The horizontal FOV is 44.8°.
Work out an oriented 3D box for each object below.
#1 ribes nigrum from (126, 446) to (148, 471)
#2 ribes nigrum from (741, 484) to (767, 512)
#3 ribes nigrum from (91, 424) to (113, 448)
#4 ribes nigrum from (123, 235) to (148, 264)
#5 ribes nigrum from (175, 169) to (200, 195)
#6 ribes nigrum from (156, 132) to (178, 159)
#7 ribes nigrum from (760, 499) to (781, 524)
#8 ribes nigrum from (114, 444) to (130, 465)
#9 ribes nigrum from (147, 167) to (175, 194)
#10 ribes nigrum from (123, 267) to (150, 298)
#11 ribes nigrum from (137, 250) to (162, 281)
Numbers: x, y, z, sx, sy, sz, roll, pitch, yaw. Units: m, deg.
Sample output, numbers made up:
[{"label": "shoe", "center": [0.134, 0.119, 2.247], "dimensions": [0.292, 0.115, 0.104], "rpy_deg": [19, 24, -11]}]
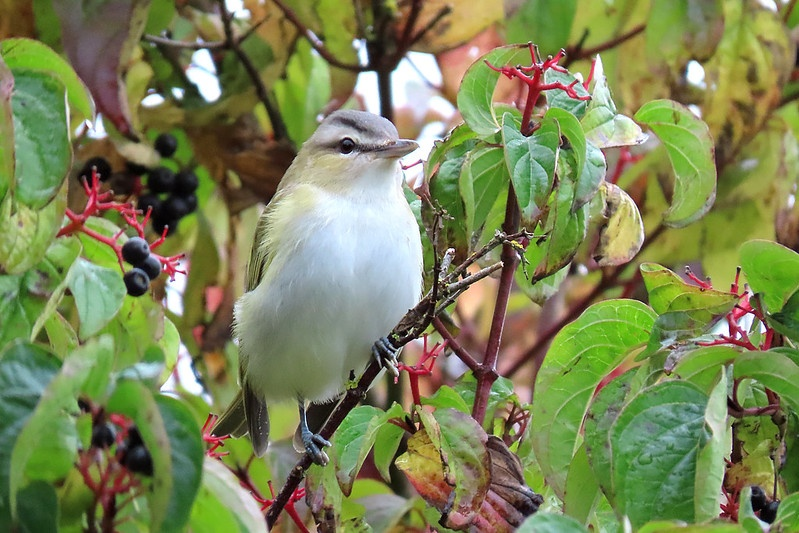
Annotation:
[{"label": "ribes nigrum", "center": [-0.879, 0.643, 3.231], "dimensions": [0.058, 0.090, 0.065], "rpy_deg": [-1, 15, -12]}, {"label": "ribes nigrum", "center": [1.311, 0.848, 3.553], "dimensions": [0.068, 0.101, 0.035], "rpy_deg": [4, 2, -21]}, {"label": "ribes nigrum", "center": [-1.021, 0.561, 3.317], "dimensions": [0.057, 0.089, 0.063], "rpy_deg": [-5, 7, -27]}, {"label": "ribes nigrum", "center": [-0.999, -0.065, 3.704], "dimensions": [0.085, 0.117, 0.092], "rpy_deg": [-1, -2, 10]}, {"label": "ribes nigrum", "center": [-1.056, -0.410, 4.781], "dimensions": [0.098, 0.139, 0.108], "rpy_deg": [-2, -1, 12]}, {"label": "ribes nigrum", "center": [-1.158, -0.597, 4.856], "dimensions": [0.104, 0.135, 0.109], "rpy_deg": [-18, 49, -29]}, {"label": "ribes nigrum", "center": [1.340, 0.884, 3.513], "dimensions": [0.058, 0.085, 0.106], "rpy_deg": [5, 2, 23]}, {"label": "ribes nigrum", "center": [-0.933, 0.624, 3.263], "dimensions": [0.043, 0.065, 0.026], "rpy_deg": [-2, 12, -41]}, {"label": "ribes nigrum", "center": [-1.162, -0.415, 4.700], "dimensions": [0.108, 0.155, 0.117], "rpy_deg": [-3, 1, 10]}, {"label": "ribes nigrum", "center": [-0.974, 0.057, 3.630], "dimensions": [0.087, 0.108, 0.098], "rpy_deg": [-9, -26, 39]}, {"label": "ribes nigrum", "center": [-0.945, 0.001, 3.683], "dimensions": [0.076, 0.106, 0.084], "rpy_deg": [-2, -3, 5]}]
